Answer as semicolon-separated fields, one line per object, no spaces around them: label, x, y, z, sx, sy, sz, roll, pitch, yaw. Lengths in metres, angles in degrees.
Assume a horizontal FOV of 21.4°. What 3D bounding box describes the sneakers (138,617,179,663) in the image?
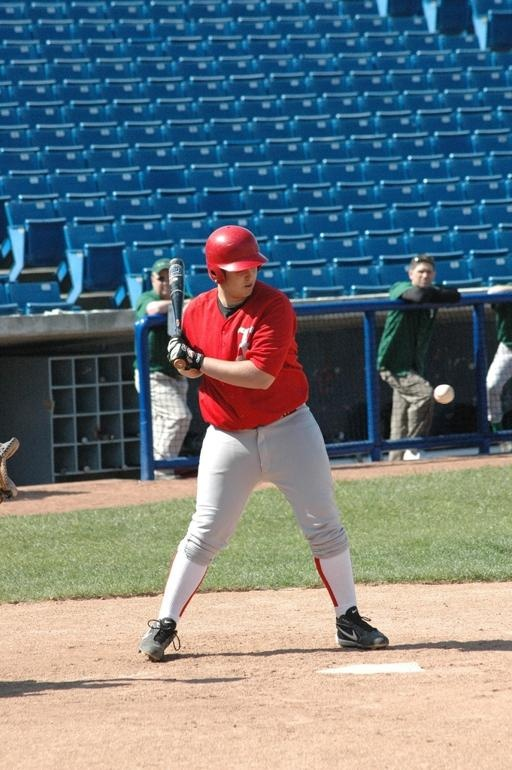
sneakers;-0.381;1.012;5.415;0.091;0.117;0.266;30;8;-5

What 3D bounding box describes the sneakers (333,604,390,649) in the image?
sneakers;0.413;1.000;5.595;0.290;0.175;0.104;-1;-1;33

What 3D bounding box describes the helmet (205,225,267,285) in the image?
helmet;-0.067;-0.529;5.444;0.281;0.217;0.213;8;23;33

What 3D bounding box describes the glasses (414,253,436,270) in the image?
glasses;1.228;-0.907;9.962;0.128;0.062;0.146;1;-4;-3

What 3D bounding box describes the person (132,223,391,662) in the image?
person;-0.021;0.228;5.492;0.960;1.730;0.394;-3;7;-6

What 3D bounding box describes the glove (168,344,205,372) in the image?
glove;-0.285;-0.114;5.390;0.136;0.093;0.061;21;-36;-15
